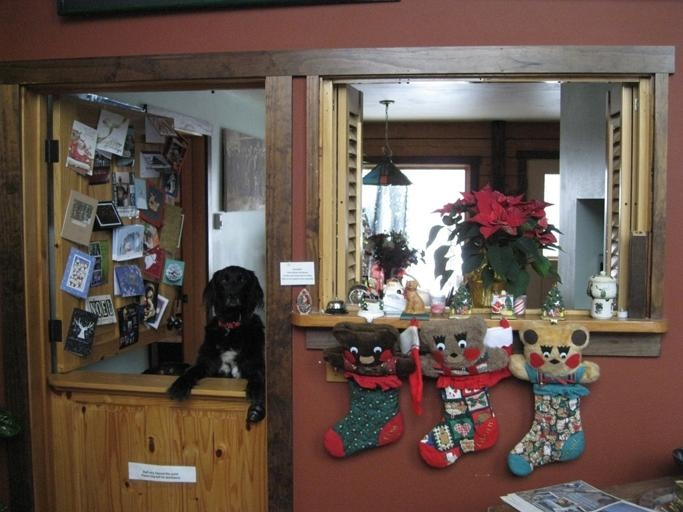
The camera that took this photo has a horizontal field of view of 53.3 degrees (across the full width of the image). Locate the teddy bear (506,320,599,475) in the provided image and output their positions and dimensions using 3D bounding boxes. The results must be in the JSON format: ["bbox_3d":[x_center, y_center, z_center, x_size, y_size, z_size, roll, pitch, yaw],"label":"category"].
[{"bbox_3d":[0.984,0.658,3.156,0.414,0.778,0.158,-1,12,11],"label":"teddy bear"}]

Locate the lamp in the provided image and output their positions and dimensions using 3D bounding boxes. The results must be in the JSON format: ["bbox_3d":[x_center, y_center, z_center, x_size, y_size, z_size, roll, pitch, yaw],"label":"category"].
[{"bbox_3d":[0.224,-0.553,3.271,0.234,0.405,0.253,-1,16,-2],"label":"lamp"}]

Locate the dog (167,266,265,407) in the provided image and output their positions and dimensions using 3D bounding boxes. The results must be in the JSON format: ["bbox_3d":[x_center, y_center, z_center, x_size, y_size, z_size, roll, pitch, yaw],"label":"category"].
[{"bbox_3d":[-0.644,0.383,3.628,0.465,0.653,0.648,0,0,-7],"label":"dog"}]

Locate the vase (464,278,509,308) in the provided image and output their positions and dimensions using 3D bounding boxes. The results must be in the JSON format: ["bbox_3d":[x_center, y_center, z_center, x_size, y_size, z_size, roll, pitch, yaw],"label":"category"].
[{"bbox_3d":[0.695,0.174,3.181,0.133,0.125,0.153,1,-2,3],"label":"vase"}]

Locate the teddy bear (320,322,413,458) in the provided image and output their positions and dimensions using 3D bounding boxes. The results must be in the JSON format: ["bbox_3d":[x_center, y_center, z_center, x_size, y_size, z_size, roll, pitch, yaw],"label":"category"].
[{"bbox_3d":[0.137,0.607,3.145,0.565,0.849,0.252,0,-1,5],"label":"teddy bear"}]

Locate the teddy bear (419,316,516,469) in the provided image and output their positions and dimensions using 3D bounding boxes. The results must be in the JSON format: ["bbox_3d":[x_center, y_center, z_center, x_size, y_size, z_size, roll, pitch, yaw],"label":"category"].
[{"bbox_3d":[0.594,0.610,3.120,0.596,0.895,0.166,-2,2,4],"label":"teddy bear"}]

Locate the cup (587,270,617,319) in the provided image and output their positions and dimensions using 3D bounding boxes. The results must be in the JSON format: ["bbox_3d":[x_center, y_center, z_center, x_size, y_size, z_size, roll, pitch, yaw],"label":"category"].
[{"bbox_3d":[1.232,0.176,3.186,0.151,0.223,0.150,-1,2,0],"label":"cup"}]

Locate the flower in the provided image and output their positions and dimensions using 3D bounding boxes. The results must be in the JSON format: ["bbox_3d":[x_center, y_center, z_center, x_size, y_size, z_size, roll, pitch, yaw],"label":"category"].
[{"bbox_3d":[0.718,-0.079,3.177,0.511,0.404,0.510,-3,2,-41],"label":"flower"}]
